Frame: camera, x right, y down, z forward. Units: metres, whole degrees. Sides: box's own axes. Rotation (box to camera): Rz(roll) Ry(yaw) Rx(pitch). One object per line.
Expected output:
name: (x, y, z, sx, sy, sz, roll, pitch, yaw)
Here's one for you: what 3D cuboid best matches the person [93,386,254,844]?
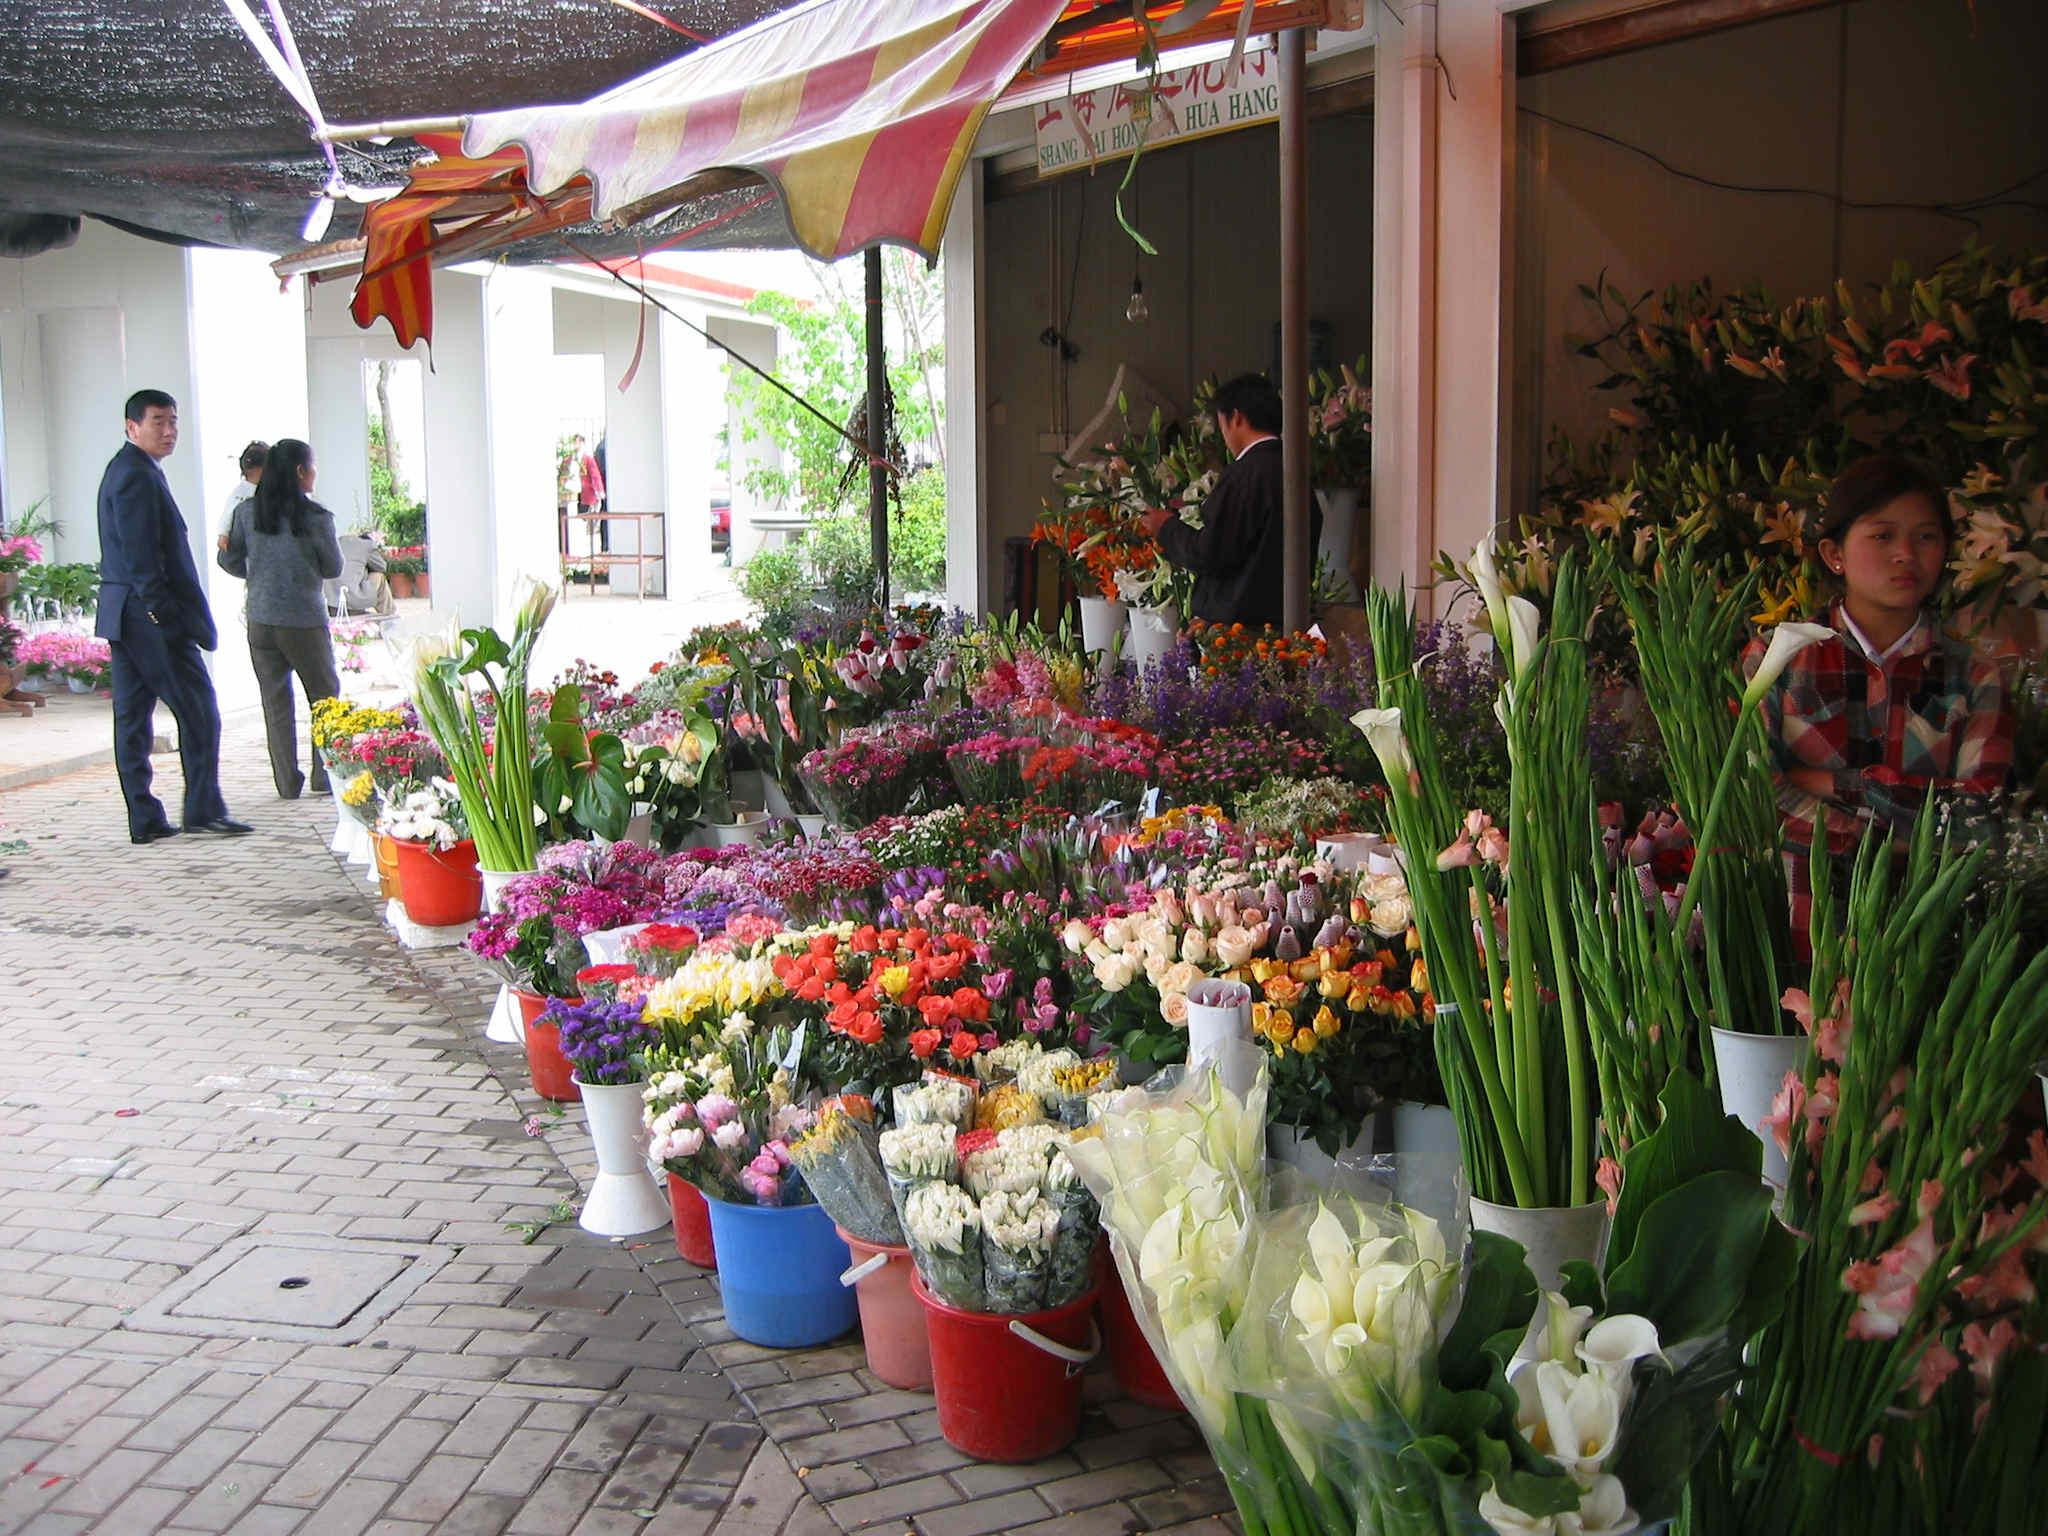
person: (-4.245, -0.730, 7.953, 0.540, 2.155, 0.561, -8, 12, -31)
